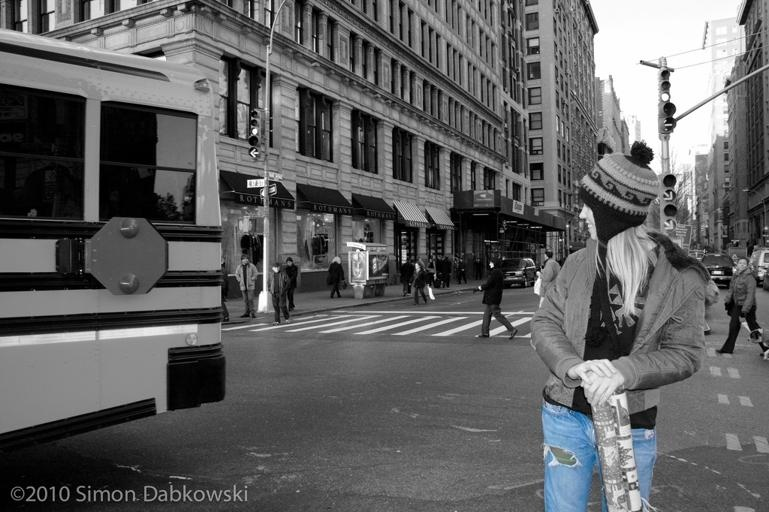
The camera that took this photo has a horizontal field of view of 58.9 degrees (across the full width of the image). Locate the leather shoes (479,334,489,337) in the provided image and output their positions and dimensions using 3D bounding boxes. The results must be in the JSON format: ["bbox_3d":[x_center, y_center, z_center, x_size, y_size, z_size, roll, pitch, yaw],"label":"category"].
[{"bbox_3d":[2.451,1.962,16.928,0.209,0.116,0.095,2,2,8],"label":"leather shoes"}]

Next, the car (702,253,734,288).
[{"bbox_3d":[13.192,0.503,26.865,1.194,1.312,3.102,-1,-3,21],"label":"car"}]

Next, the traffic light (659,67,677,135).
[{"bbox_3d":[6.212,-3.528,15.046,0.316,1.195,1.302,-2,1,22],"label":"traffic light"}]
